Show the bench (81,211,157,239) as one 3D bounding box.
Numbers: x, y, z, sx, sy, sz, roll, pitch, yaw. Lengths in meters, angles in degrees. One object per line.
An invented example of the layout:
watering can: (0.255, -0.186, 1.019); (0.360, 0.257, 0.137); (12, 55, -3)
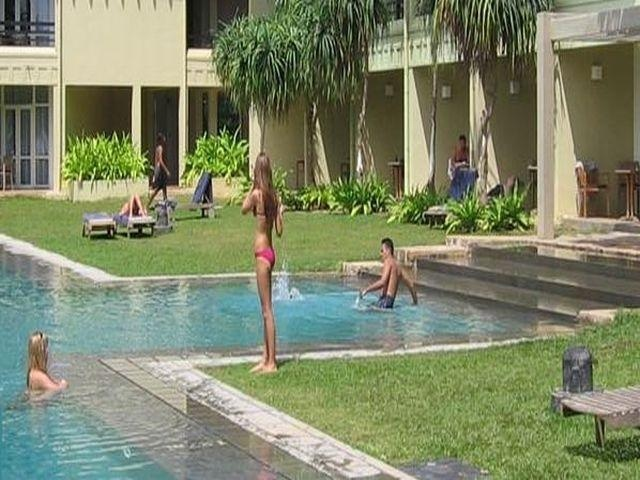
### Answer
bench: (-4.639, -0.365, 20.814); (1.683, 0.407, 2.040); (-5, 3, -19)

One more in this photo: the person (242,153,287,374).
person: (-0.640, 0.236, 10.320); (0.458, 2.474, 0.434); (-2, 1, -5)

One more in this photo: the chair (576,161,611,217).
chair: (5.812, -1.083, 19.170); (0.694, 1.172, 1.563); (-2, 3, 19)

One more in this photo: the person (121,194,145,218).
person: (-4.389, -0.817, 21.049); (0.367, 0.435, 0.739); (-4, -5, -29)

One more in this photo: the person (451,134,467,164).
person: (3.582, -2.303, 22.850); (0.405, 0.715, 1.719); (-2, 3, 10)

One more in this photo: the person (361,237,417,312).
person: (1.089, 0.501, 13.972); (0.867, 1.085, 0.547); (-4, 3, -40)
